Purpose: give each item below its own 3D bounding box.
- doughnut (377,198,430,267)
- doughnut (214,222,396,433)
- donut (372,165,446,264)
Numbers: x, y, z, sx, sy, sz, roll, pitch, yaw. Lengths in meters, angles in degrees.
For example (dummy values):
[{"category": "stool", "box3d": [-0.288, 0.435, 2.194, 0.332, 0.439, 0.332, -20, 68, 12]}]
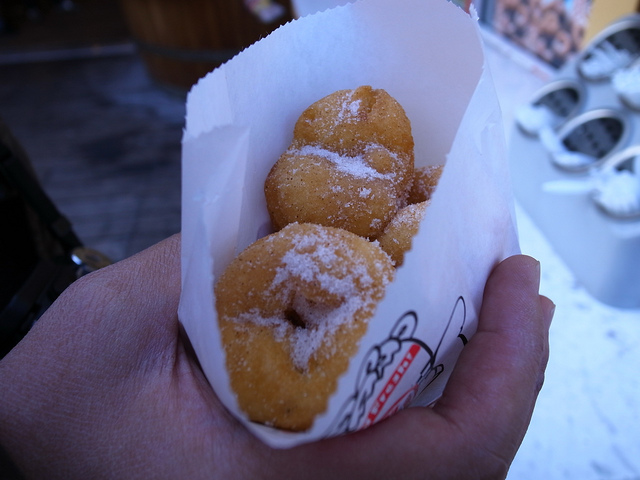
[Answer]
[{"category": "doughnut", "box3d": [0.099, -0.001, 0.693, 0.065, 0.024, 0.074, -25, 31, 26]}, {"category": "doughnut", "box3d": [-0.028, 0.088, 0.618, 0.200, 0.092, 0.220, 12, 68, 2]}, {"category": "donut", "box3d": [0.123, -0.024, 0.725, 0.101, 0.040, 0.114, -15, 51, -14]}]
